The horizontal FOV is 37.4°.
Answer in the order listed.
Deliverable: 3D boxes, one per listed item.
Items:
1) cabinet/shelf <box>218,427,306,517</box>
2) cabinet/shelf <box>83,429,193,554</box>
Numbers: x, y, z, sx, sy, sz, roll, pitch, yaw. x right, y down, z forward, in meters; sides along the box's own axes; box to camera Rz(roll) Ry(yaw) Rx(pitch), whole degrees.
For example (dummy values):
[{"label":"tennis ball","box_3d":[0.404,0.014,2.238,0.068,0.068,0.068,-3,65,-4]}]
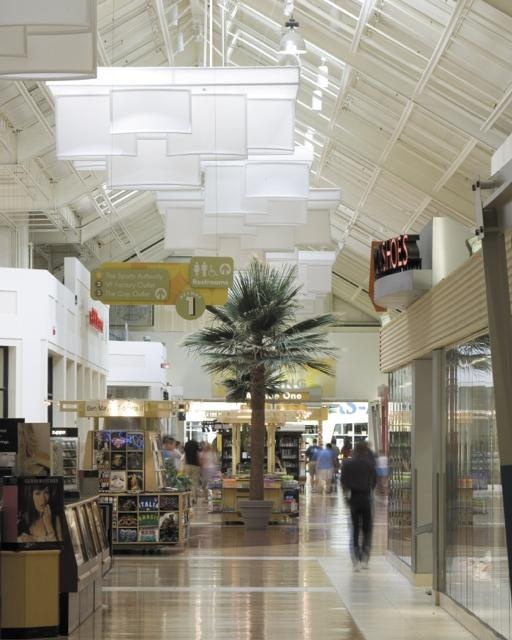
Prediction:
[{"label":"cabinet/shelf","box_3d":[0.113,3.077,14.359,1.677,2.026,1.481,0,-5,0]},{"label":"cabinet/shelf","box_3d":[-1.494,2.355,10.077,1.314,1.725,1.610,-1,-3,-1]}]
